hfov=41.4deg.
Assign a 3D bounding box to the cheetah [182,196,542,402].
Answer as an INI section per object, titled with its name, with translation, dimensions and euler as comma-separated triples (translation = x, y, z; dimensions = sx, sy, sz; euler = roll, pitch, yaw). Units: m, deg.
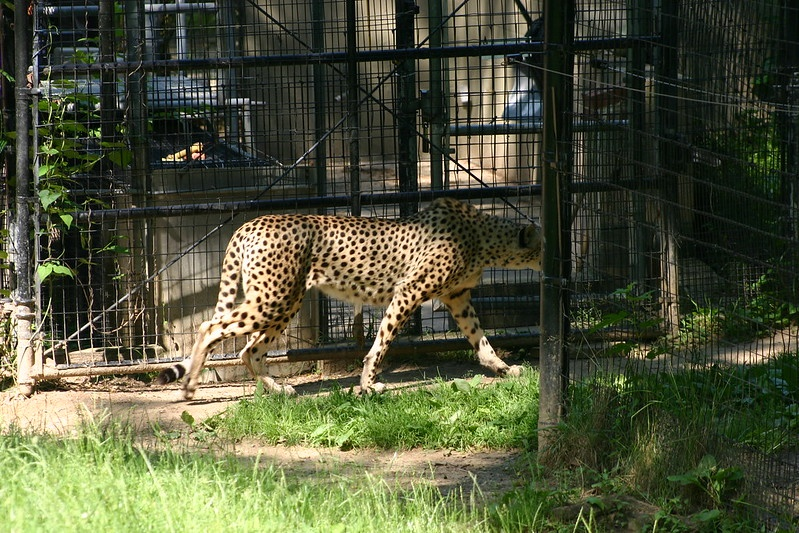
[cheetah]
translation = -0.262, 0.329, 9.396
dimensions = 3.297, 1.924, 1.014
euler = -2, 7, -11
